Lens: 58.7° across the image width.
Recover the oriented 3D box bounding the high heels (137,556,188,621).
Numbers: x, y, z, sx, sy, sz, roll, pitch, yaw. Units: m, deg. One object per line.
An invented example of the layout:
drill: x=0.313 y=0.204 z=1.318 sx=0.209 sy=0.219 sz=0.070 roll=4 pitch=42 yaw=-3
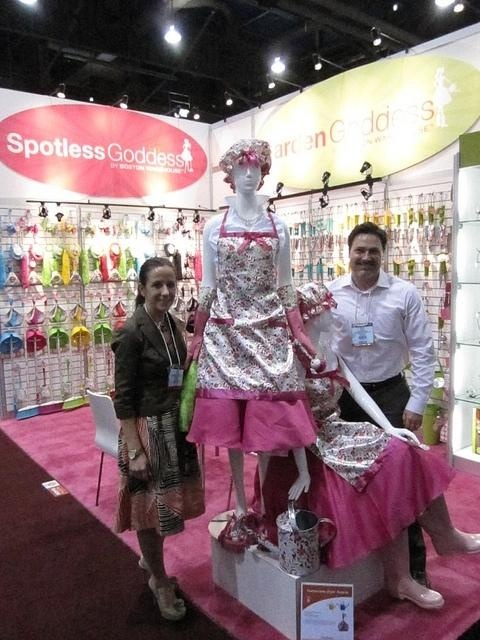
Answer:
high heels: x=-0.315 y=1.122 z=1.789 sx=0.089 sy=0.073 sz=0.251 roll=16 pitch=-1 yaw=-33

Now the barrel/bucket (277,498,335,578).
barrel/bucket: x=0.207 y=0.744 z=1.495 sx=0.184 sy=0.192 sz=0.258 roll=-3 pitch=-2 yaw=-18

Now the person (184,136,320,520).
person: x=0.040 y=0.062 z=1.518 sx=0.474 sy=1.006 sz=0.433 roll=-4 pitch=-2 yaw=10

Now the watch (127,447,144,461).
watch: x=-0.370 y=0.471 z=1.494 sx=0.035 sy=0.026 sz=0.046 roll=-3 pitch=-6 yaw=1
